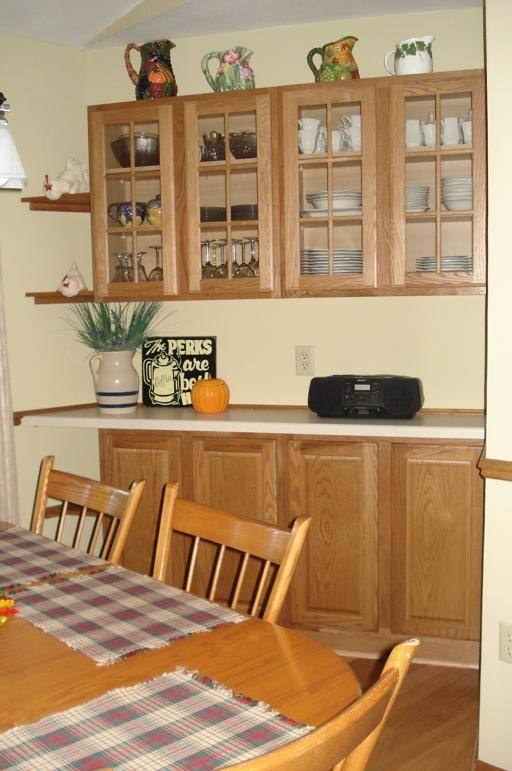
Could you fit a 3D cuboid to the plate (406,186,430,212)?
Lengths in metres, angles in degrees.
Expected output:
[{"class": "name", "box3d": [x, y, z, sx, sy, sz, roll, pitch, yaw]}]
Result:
[{"class": "plate", "box3d": [0.621, -0.720, 2.393, 0.097, 0.099, 0.024, 0, 6, -4]}]

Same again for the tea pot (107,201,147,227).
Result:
[{"class": "tea pot", "box3d": [-0.568, -0.757, 2.733, 0.144, 0.100, 0.109, 2, 16, 7]}]

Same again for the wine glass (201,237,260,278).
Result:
[{"class": "wine glass", "box3d": [-0.108, -0.533, 2.617, 0.302, 0.159, 0.073, -2, 4, 10]}]

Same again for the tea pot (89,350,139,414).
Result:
[{"class": "tea pot", "box3d": [-0.638, -0.010, 2.810, 0.276, 0.311, 0.218, -1, 5, -20]}]

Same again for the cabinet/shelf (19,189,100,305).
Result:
[{"class": "cabinet/shelf", "box3d": [-0.917, -0.639, 2.845, 0.530, 0.481, 0.183, 0, 1, 8]}]

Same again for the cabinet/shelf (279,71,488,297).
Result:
[{"class": "cabinet/shelf", "box3d": [0.516, -0.792, 2.400, 0.978, 0.943, 0.314, 1, 3, 15]}]

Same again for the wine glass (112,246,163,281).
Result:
[{"class": "wine glass", "box3d": [-0.525, -0.520, 2.764, 0.183, 0.164, 0.181, -9, 14, -43]}]

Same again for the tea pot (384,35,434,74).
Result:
[{"class": "tea pot", "box3d": [0.586, -1.242, 2.391, 0.186, 0.150, 0.112, -2, 0, 37]}]

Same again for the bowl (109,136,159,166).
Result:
[{"class": "bowl", "box3d": [-0.524, -1.023, 2.699, 0.159, 0.083, 0.161, -1, 11, 0]}]

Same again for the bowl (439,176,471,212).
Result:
[{"class": "bowl", "box3d": [0.766, -0.730, 2.397, 0.129, 0.094, 0.130, 0, 9, 0]}]

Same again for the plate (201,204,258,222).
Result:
[{"class": "plate", "box3d": [-0.116, -0.721, 2.603, 0.248, 0.077, 0.025, -2, 0, 12]}]

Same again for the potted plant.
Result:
[{"class": "potted plant", "box3d": [-0.598, -0.137, 3.047, 0.520, 0.694, 0.498, 0, 3, 7]}]

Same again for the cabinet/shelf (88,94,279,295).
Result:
[{"class": "cabinet/shelf", "box3d": [-0.283, -0.828, 2.634, 0.879, 0.849, 0.285, 0, 2, 12]}]

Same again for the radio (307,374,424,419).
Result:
[{"class": "radio", "box3d": [0.436, 0.053, 2.517, 0.447, 0.174, 0.094, -2, 0, 22]}]

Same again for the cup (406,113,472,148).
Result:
[{"class": "cup", "box3d": [0.689, -0.955, 2.353, 0.231, 0.148, 0.124, 1, 21, 10]}]

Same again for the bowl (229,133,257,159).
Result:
[{"class": "bowl", "box3d": [-0.055, -0.995, 2.564, 0.111, 0.069, 0.112, -2, 13, 0]}]

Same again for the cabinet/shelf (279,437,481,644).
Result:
[{"class": "cabinet/shelf", "box3d": [0.492, 0.553, 2.281, 0.786, 0.784, 0.282, 1, 3, 14]}]
